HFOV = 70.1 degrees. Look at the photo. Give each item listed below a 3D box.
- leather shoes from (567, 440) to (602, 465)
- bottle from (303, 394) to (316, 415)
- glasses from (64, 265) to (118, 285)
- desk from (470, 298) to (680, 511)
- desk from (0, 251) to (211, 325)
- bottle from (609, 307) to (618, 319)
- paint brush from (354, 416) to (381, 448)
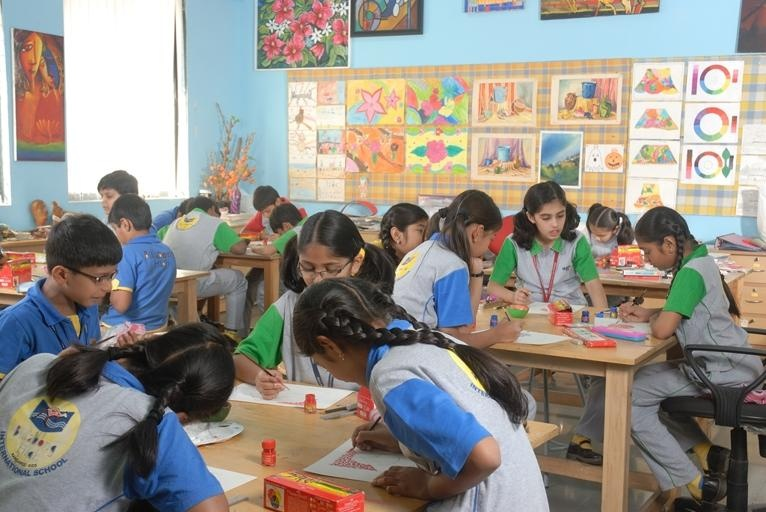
[{"bbox_3d":[1.077,1.034,2.921,0.095,0.095,0.202,0,-1,-44],"label":"leather shoes"},{"bbox_3d":[-0.257,0.524,1.926,0.057,0.061,0.056,1,-1,-9],"label":"bottle"},{"bbox_3d":[-1.119,0.073,2.086,0.162,0.077,0.044,-5,12,-26],"label":"glasses"},{"bbox_3d":[1.067,0.653,2.964,0.992,0.914,0.994,3,9,29],"label":"desk"},{"bbox_3d":[-1.979,0.273,4.005,0.877,0.799,0.813,2,3,28],"label":"desk"},{"bbox_3d":[1.294,0.319,3.072,0.044,0.070,0.046,0,9,0],"label":"bottle"},{"bbox_3d":[-0.050,0.541,1.736,0.036,0.048,0.162,7,21,32],"label":"paint brush"}]
